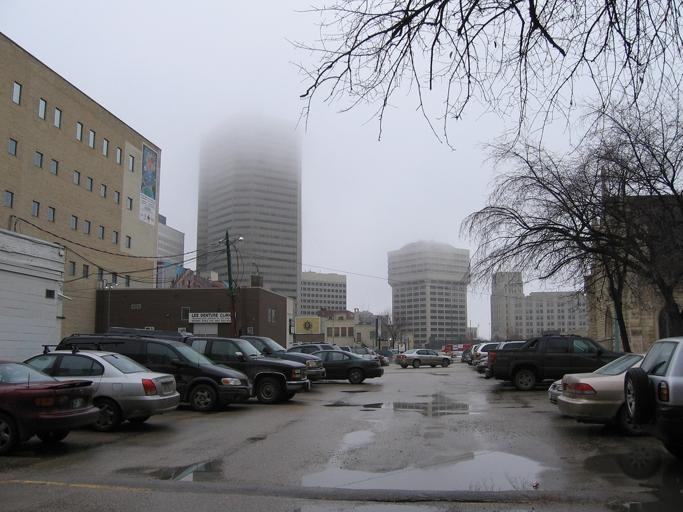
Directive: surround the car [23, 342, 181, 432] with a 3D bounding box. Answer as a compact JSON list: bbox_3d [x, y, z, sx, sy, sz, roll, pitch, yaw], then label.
[{"bbox_3d":[-5.762,3.102,14.767,3.408,1.372,1.666,1,-5,15],"label":"car"}]
